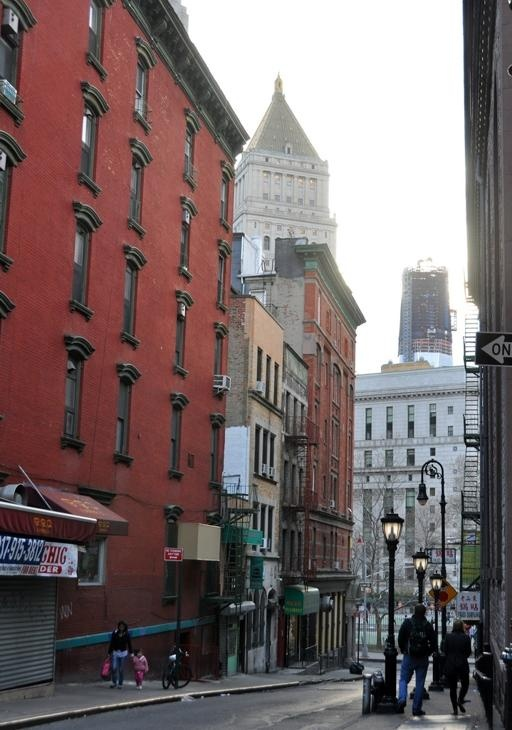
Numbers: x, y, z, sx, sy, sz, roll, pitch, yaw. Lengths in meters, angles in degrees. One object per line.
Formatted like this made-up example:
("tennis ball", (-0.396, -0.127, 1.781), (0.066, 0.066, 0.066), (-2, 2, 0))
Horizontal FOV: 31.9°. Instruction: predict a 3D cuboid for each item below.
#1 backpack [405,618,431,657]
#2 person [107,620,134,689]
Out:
("backpack", (2.567, 4.334, 14.262), (0.394, 0.722, 0.397), (4, -28, 2))
("person", (-3.314, 6.993, 21.693), (0.517, 1.501, 2.233), (3, -15, -7))
